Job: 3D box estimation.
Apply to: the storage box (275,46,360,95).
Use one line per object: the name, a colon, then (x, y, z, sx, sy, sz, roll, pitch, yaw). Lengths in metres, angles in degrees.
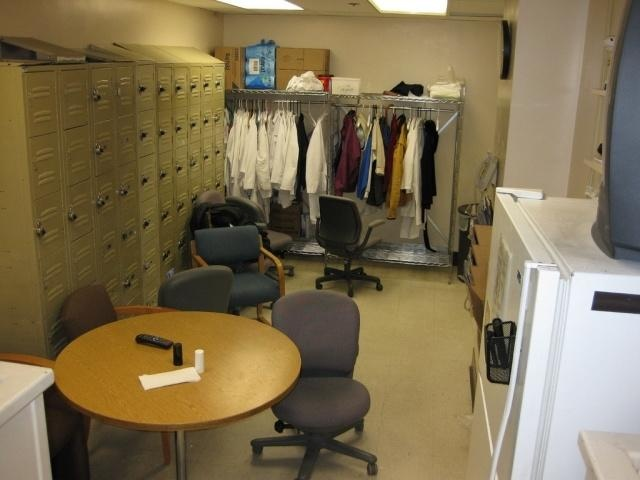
storage box: (0.009, -2.097, 6.024, 0.988, 0.501, 0.560, 11, 20, 27)

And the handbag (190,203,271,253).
handbag: (-0.891, -0.240, 4.887, 0.586, 0.602, 0.548, -6, 5, -38)
